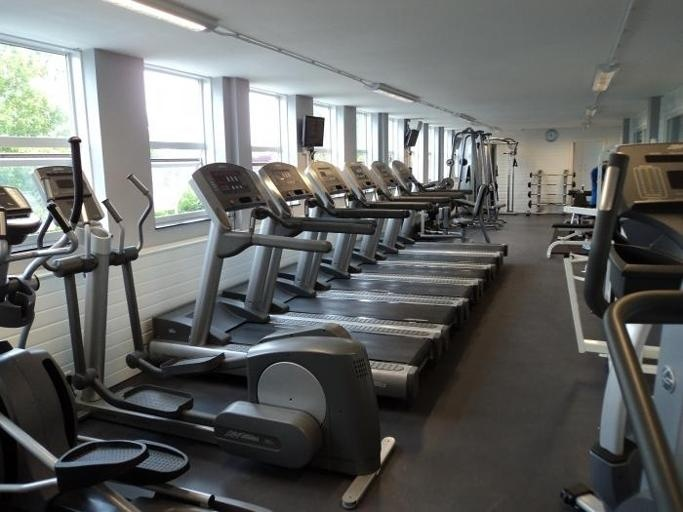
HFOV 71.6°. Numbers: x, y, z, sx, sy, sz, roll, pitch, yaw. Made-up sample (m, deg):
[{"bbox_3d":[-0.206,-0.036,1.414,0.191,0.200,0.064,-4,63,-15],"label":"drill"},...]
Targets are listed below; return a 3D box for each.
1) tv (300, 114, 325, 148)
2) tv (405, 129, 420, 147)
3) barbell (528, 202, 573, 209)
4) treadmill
[{"bbox_3d":[-0.533,-2.134,8.138,0.205,0.501,0.599,12,16,28],"label":"tv"},{"bbox_3d":[1.760,-2.931,11.858,0.165,0.453,0.348,24,21,17],"label":"tv"},{"bbox_3d":[6.748,-1.640,15.408,1.207,0.315,0.930,3,13,21],"label":"barbell"},{"bbox_3d":[-0.718,0.141,5.075,3.002,1.963,4.104,8,9,20],"label":"treadmill"}]
